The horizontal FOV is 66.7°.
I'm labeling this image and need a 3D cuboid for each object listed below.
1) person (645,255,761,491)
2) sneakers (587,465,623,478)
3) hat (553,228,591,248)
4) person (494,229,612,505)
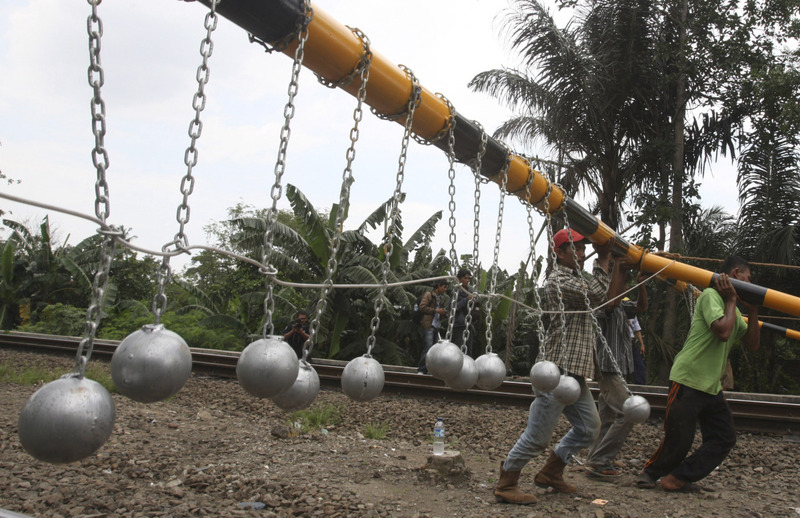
[{"bbox_3d":[3.562,1.504,7.437,0.962,2.653,0.413,1,4,1],"label":"person"},{"bbox_3d":[2.652,2.732,7.886,0.415,0.196,0.171,-1,-2,12],"label":"sneakers"},{"bbox_3d":[2.088,-0.265,7.551,0.348,0.210,0.251,-6,2,9],"label":"hat"},{"bbox_3d":[1.895,1.267,7.345,1.010,3.286,1.530,3,4,24],"label":"person"}]
